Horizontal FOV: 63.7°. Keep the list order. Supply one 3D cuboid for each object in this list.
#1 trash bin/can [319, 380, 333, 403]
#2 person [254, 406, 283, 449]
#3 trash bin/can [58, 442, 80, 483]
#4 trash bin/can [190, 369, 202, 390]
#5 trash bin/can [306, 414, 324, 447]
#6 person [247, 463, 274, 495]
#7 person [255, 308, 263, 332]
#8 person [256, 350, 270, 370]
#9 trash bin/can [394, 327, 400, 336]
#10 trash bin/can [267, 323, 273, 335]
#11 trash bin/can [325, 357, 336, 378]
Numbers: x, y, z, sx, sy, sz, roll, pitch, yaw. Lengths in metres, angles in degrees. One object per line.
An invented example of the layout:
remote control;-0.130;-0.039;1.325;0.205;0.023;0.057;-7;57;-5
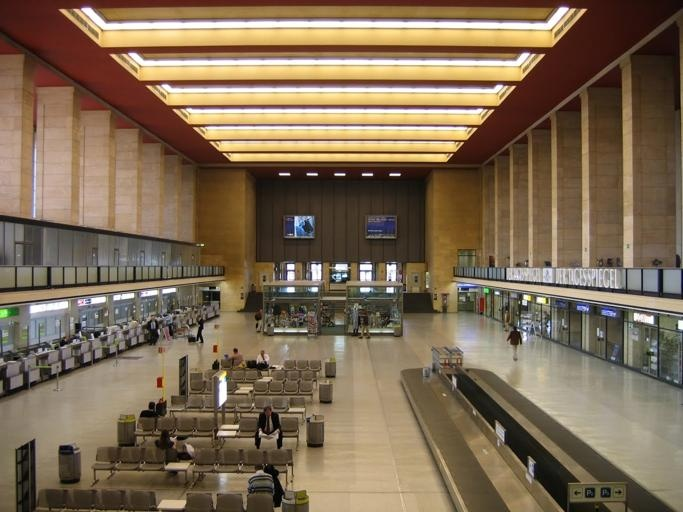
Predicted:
trash bin/can;-0.678;5.341;21.740;0.634;1.022;0.701;0;-2;3
person;-2.337;5.573;17.952;0.929;1.716;1.203;0;-18;-7
trash bin/can;-7.764;5.914;15.685;0.573;1.087;0.376;0;1;-22
trash bin/can;-5.867;4.997;22.141;0.499;0.907;0.559;0;1;-9
trash bin/can;-0.829;5.706;17.960;0.797;1.359;0.782;0;-7;-3
person;-2.090;5.961;14.735;0.543;0.932;0.862;-1;-7;-1
person;-5.756;4.467;38.006;0.428;1.204;2.307;0;1;-8
person;-3.610;4.740;24.462;0.483;0.857;1.114;-2;-13;0
trash bin/can;3.587;4.944;35.855;0.536;0.590;0.401;1;-7;-3
trash bin/can;-4.624;4.779;35.464;0.504;1.043;0.585;0;1;0
trash bin/can;-0.534;5.029;24.966;0.641;1.282;0.738;-1;-1;1
